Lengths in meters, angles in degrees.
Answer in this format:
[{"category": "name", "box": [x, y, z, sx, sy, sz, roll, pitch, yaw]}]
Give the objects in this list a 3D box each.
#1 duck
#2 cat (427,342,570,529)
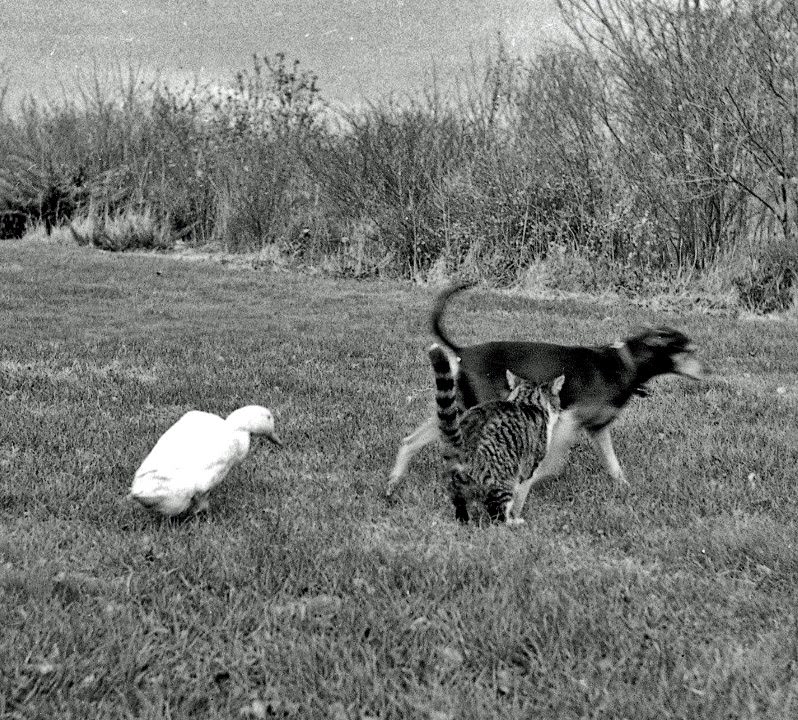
[{"category": "duck", "box": [-1.034, 0.528, 4.935, 0.346, 0.490, 0.799, 14, 11, 36]}, {"category": "cat", "box": [0.518, 0.441, 4.945, 0.633, 0.958, 0.715, 2, 8, -2]}]
